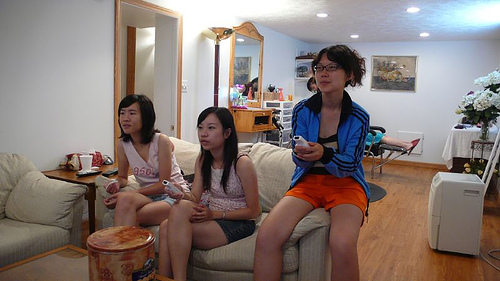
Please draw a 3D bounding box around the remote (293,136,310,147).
[{"bbox_3d":[0.416,0.007,2.503,0.128,0.093,0.076,2,14,3],"label":"remote"}]

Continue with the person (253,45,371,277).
[{"bbox_3d":[0.611,0.165,2.635,0.802,1.913,1.005,7,15,20],"label":"person"}]

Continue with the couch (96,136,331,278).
[{"bbox_3d":[-0.295,0.601,2.685,1.438,0.650,0.642,-1,-2,20],"label":"couch"}]

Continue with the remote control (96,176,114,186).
[{"bbox_3d":[-1.460,0.398,3.089,0.114,0.038,0.115,5,4,-43],"label":"remote control"}]

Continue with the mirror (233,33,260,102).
[{"bbox_3d":[-0.050,-1.425,6.194,0.201,1.292,0.803,11,17,30],"label":"mirror"}]

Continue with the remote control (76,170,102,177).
[{"bbox_3d":[-1.890,0.382,3.644,0.258,0.048,0.122,-6,15,-30],"label":"remote control"}]

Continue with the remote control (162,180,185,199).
[{"bbox_3d":[-0.638,0.386,2.550,0.178,0.040,0.177,22,-12,40],"label":"remote control"}]

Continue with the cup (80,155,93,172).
[{"bbox_3d":[-1.932,0.261,3.566,0.183,0.173,0.173,2,4,0],"label":"cup"}]

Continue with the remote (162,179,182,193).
[{"bbox_3d":[-0.629,0.344,2.521,0.129,0.034,0.128,13,-21,50],"label":"remote"}]
